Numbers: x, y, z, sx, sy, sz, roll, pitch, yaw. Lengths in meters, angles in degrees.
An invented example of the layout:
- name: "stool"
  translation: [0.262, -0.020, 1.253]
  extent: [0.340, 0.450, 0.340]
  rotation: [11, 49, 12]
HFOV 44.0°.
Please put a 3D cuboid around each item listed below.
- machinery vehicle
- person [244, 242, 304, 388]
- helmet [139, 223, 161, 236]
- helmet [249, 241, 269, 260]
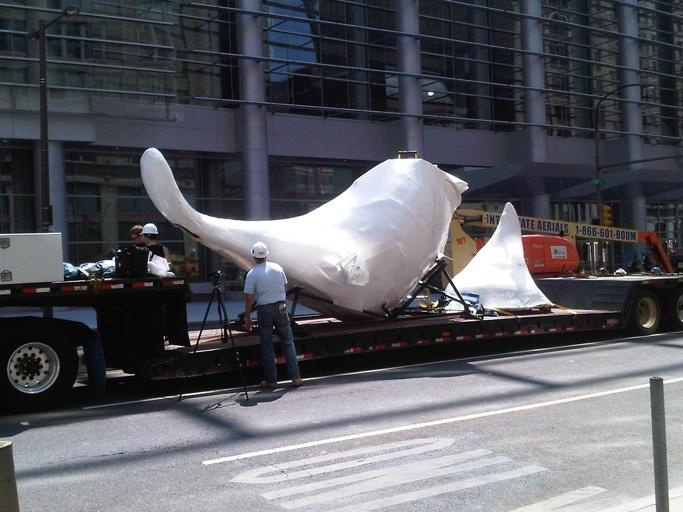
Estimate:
- name: "machinery vehicle"
  translation: [7.587, 0.068, 28.263]
  extent: [8.714, 2.442, 1.639]
  rotation: [4, 1, -20]
- name: "person"
  translation: [-1.170, 1.030, 14.406]
  extent: [0.876, 2.408, 0.610]
  rotation: [-2, 12, -5]
- name: "helmet"
  translation: [-3.660, -0.498, 15.878]
  extent: [0.481, 0.244, 0.390]
  rotation: [7, 8, 34]
- name: "helmet"
  translation: [-1.397, -0.092, 14.550]
  extent: [0.265, 0.183, 0.342]
  rotation: [3, 25, -11]
